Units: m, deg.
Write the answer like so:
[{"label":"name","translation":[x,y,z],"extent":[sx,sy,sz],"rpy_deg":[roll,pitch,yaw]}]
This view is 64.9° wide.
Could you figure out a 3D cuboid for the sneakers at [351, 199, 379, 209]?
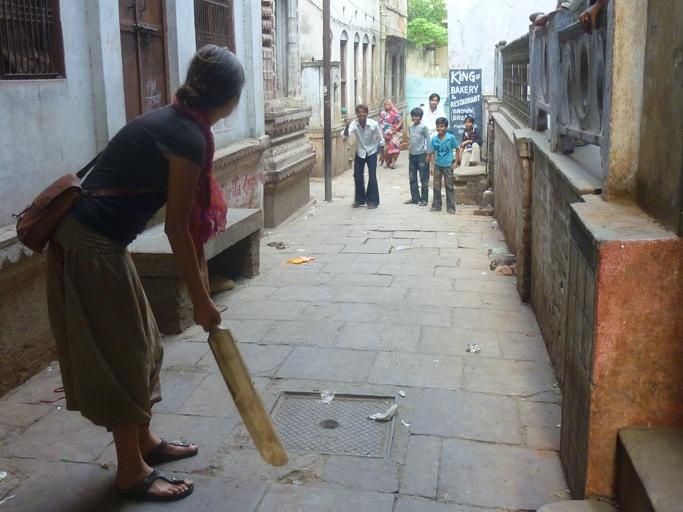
[{"label":"sneakers","translation":[0.554,-1.171,12.182],"extent":[0.618,0.292,0.220],"rpy_deg":[-4,5,14]}]

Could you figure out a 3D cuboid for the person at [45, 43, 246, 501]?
[{"label":"person","translation":[-1.035,0.135,2.898],"extent":[0.965,2.416,0.667],"rpy_deg":[2,14,12]}]

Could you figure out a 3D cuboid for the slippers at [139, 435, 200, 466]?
[{"label":"slippers","translation":[-1.065,1.178,3.323],"extent":[0.333,0.131,0.125],"rpy_deg":[-6,11,-26]}]

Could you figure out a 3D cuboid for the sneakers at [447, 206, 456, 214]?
[{"label":"sneakers","translation":[2.340,-0.979,11.475],"extent":[0.172,0.135,0.319],"rpy_deg":[-1,1,7]}]

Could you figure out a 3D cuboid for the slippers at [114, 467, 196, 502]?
[{"label":"slippers","translation":[-1.038,1.294,2.998],"extent":[0.331,0.130,0.182],"rpy_deg":[2,3,2]}]

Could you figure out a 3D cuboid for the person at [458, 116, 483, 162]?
[{"label":"person","translation":[3.721,-3.298,15.404],"extent":[0.606,1.325,1.049],"rpy_deg":[3,14,13]}]

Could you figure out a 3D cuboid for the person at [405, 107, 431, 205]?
[{"label":"person","translation":[1.763,-2.243,12.317],"extent":[0.492,2.216,0.654],"rpy_deg":[-6,7,-41]}]

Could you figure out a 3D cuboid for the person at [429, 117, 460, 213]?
[{"label":"person","translation":[2.212,-1.979,11.634],"extent":[0.604,1.934,1.014],"rpy_deg":[2,14,10]}]

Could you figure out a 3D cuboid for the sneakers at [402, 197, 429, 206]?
[{"label":"sneakers","translation":[1.715,-1.255,12.420],"extent":[0.599,0.264,0.205],"rpy_deg":[0,6,11]}]

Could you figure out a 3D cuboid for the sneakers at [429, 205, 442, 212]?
[{"label":"sneakers","translation":[2.017,-1.014,11.558],"extent":[0.100,0.125,0.279],"rpy_deg":[0,-4,38]}]

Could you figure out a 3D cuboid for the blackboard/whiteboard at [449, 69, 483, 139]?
[{"label":"blackboard/whiteboard","translation":[3.830,-4.677,16.694],"extent":[1.041,2.684,0.032],"rpy_deg":[2,-18,11]}]

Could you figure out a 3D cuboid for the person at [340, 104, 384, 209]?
[{"label":"person","translation":[0.528,-2.321,12.377],"extent":[0.882,2.249,1.451],"rpy_deg":[0,14,2]}]
